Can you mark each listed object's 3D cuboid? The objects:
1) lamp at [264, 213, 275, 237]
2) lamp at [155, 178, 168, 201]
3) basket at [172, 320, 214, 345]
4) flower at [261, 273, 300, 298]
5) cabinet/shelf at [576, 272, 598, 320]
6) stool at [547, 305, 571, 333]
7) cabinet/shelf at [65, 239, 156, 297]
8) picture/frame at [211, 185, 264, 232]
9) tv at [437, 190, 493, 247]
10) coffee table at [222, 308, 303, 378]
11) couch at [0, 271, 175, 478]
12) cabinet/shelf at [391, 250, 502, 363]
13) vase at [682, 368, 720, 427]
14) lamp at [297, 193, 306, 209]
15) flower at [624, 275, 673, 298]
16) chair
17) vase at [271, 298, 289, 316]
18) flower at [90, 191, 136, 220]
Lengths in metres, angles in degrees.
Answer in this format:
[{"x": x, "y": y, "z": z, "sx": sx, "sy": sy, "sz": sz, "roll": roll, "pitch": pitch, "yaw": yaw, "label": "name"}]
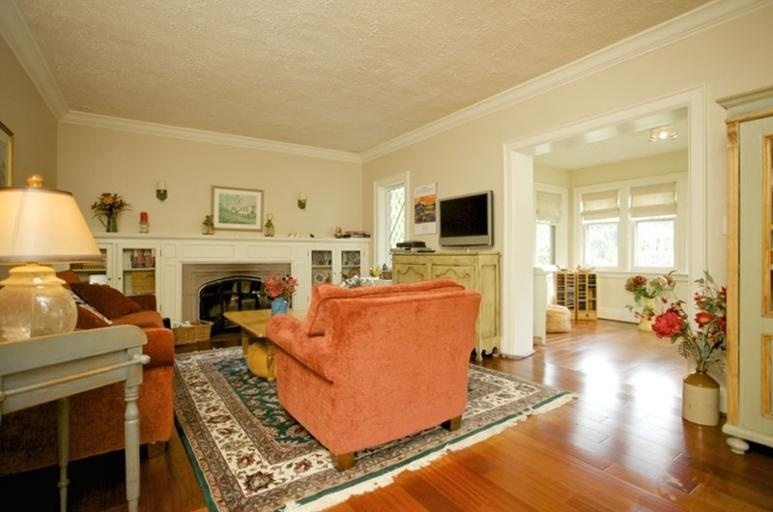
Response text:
[{"x": -1.802, "y": -0.480, "z": 7.577, "sx": 0.179, "sy": 0.338, "sz": 0.166, "roll": 0, "pitch": 1, "yaw": -27, "label": "lamp"}, {"x": -3.158, "y": -0.913, "z": 6.880, "sx": 0.155, "sy": 0.293, "sz": 0.113, "roll": 0, "pitch": 1, "yaw": -25, "label": "lamp"}, {"x": -2.598, "y": 1.028, "z": 6.545, "sx": 0.333, "sy": 0.266, "sz": 0.543, "roll": 1, "pitch": 0, "yaw": 38, "label": "basket"}, {"x": -1.204, "y": 0.332, "z": 5.535, "sx": 0.384, "sy": 0.264, "sz": 0.373, "roll": 4, "pitch": -1, "yaw": 6, "label": "flower"}, {"x": 3.324, "y": 0.676, "z": 8.205, "sx": 0.290, "sy": 0.767, "sz": 0.138, "roll": 1, "pitch": 1, "yaw": 18, "label": "cabinet/shelf"}, {"x": 2.558, "y": 0.927, "z": 7.249, "sx": 0.393, "sy": 0.274, "sz": 0.380, "roll": -1, "pitch": 0, "yaw": 35, "label": "stool"}, {"x": -3.147, "y": 0.141, "z": 5.573, "sx": 0.801, "sy": 0.690, "sz": 0.296, "roll": 1, "pitch": -3, "yaw": -40, "label": "cabinet/shelf"}, {"x": -2.290, "y": -0.712, "z": 7.367, "sx": 0.799, "sy": 0.627, "sz": 0.054, "roll": 1, "pitch": 0, "yaw": -34, "label": "picture/frame"}, {"x": 1.010, "y": -0.477, "z": 6.236, "sx": 0.087, "sy": 0.586, "sz": 0.831, "roll": -1, "pitch": 0, "yaw": -33, "label": "tv"}, {"x": -1.333, "y": 0.939, "z": 5.258, "sx": 0.724, "sy": 0.465, "sz": 1.092, "roll": 1, "pitch": -1, "yaw": -29, "label": "coffee table"}, {"x": -2.555, "y": 0.532, "z": 4.164, "sx": 1.373, "sy": 1.571, "sz": 2.433, "roll": 0, "pitch": 0, "yaw": -39, "label": "couch"}, {"x": 0.637, "y": 0.493, "z": 4.637, "sx": 0.488, "sy": 1.119, "sz": 1.347, "roll": 2, "pitch": -3, "yaw": -36, "label": "cabinet/shelf"}, {"x": 2.756, "y": 1.228, "z": 4.349, "sx": 0.310, "sy": 0.445, "sz": 0.293, "roll": 3, "pitch": -3, "yaw": -26, "label": "vase"}, {"x": -1.368, "y": -0.865, "z": 7.854, "sx": 0.164, "sy": 0.203, "sz": 0.065, "roll": 3, "pitch": -4, "yaw": -4, "label": "lamp"}, {"x": 2.905, "y": 0.329, "z": 5.436, "sx": 0.353, "sy": 0.132, "sz": 0.343, "roll": -19, "pitch": 4, "yaw": -29, "label": "flower"}, {"x": -0.179, "y": 0.789, "z": 4.329, "sx": 1.547, "sy": 1.226, "sz": 1.466, "roll": -1, "pitch": -1, "yaw": -34, "label": "chair"}, {"x": -1.179, "y": 0.545, "z": 5.411, "sx": 0.257, "sy": 0.224, "sz": 0.247, "roll": 2, "pitch": 3, "yaw": -18, "label": "vase"}, {"x": -3.689, "y": -0.671, "z": 6.545, "sx": 0.368, "sy": 0.275, "sz": 0.361, "roll": 2, "pitch": -1, "yaw": -37, "label": "flower"}]
